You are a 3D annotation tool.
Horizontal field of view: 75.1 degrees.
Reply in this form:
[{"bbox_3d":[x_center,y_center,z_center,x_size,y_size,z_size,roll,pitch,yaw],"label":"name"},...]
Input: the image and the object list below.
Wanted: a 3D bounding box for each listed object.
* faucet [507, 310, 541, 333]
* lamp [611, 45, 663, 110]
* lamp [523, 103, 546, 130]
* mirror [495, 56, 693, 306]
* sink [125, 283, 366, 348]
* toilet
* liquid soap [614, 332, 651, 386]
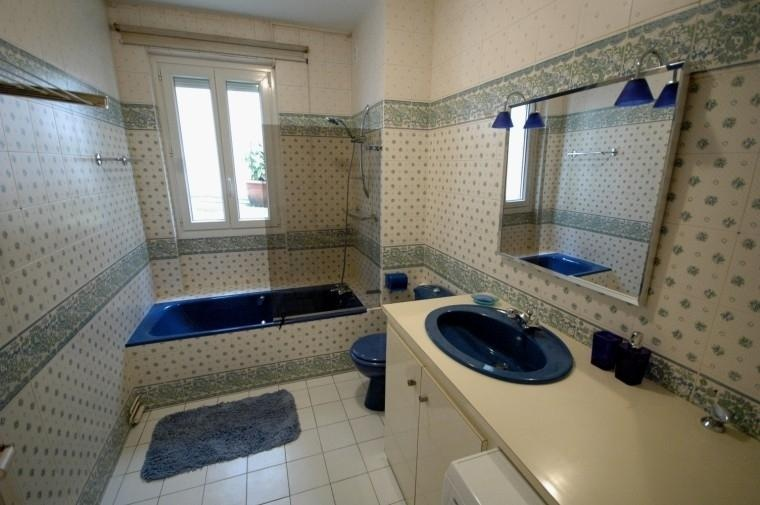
[{"bbox_3d":[0.814,0.380,2.809,0.085,0.073,0.188,-3,15,-4],"label":"faucet"},{"bbox_3d":[1.238,-0.843,2.367,0.199,0.269,0.128,-1,8,20],"label":"lamp"},{"bbox_3d":[0.878,-0.775,2.785,0.096,0.068,0.097,-6,28,2],"label":"lamp"},{"bbox_3d":[1.138,-0.385,2.558,0.050,1.432,1.197,-4,14,-35],"label":"mirror"},{"bbox_3d":[-1.037,0.493,4.017,1.717,0.277,0.653,-5,7,-15],"label":"sink"},{"bbox_3d":[0.207,0.654,3.940,1.046,1.148,0.534,-3,12,-21],"label":"toilet"},{"bbox_3d":[1.234,0.516,2.421,0.146,0.259,0.057,0,8,26],"label":"liquid soap"}]
